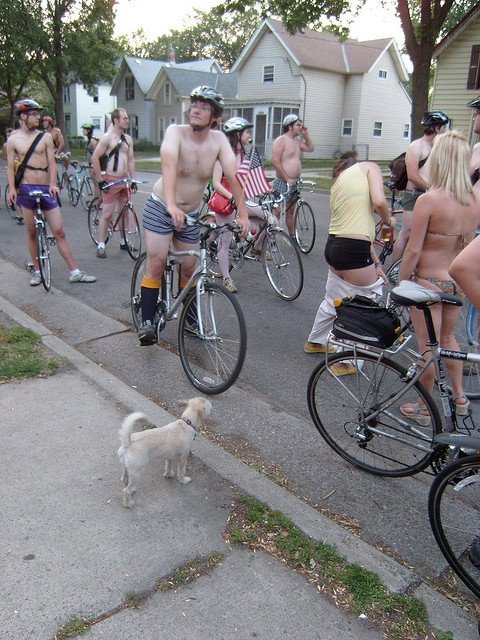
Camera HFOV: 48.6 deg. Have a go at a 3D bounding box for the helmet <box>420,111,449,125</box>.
[{"bbox_3d":[2.108,-2.128,5.761,0.176,0.151,0.248,-27,26,-31],"label":"helmet"}]

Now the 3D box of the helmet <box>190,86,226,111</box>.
[{"bbox_3d":[-0.249,-1.627,3.949,0.229,0.175,0.316,1,19,-4],"label":"helmet"}]

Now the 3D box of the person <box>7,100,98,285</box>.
[{"bbox_3d":[-2.430,-1.475,6.435,0.639,2.150,0.919,12,21,28],"label":"person"}]

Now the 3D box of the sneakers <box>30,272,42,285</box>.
[{"bbox_3d":[-2.565,-0.500,6.607,0.122,0.244,0.372,1,3,-12],"label":"sneakers"}]

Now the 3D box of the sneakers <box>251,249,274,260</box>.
[{"bbox_3d":[0.295,-0.847,7.054,0.330,0.143,0.122,4,27,24],"label":"sneakers"}]

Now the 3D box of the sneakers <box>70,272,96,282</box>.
[{"bbox_3d":[-2.049,-0.571,6.921,0.362,0.163,0.134,-3,24,-21],"label":"sneakers"}]

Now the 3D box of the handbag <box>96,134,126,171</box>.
[{"bbox_3d":[-1.876,-2.445,7.890,0.423,0.535,0.192,-5,19,-21],"label":"handbag"}]

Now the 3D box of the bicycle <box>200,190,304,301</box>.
[{"bbox_3d":[0.086,-1.021,6.837,1.955,1.228,0.949,18,28,41],"label":"bicycle"}]

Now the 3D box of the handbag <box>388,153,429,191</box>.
[{"bbox_3d":[2.060,-1.759,6.690,0.543,0.548,0.409,9,45,14],"label":"handbag"}]

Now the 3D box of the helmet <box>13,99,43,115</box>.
[{"bbox_3d":[-2.350,-2.321,5.860,0.335,0.174,0.245,-9,19,-7],"label":"helmet"}]

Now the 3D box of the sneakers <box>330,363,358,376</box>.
[{"bbox_3d":[0.590,0.282,3.039,0.059,0.054,0.124,-17,9,-36],"label":"sneakers"}]

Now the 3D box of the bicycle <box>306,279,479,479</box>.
[{"bbox_3d":[0.822,0.371,2.966,0.346,1.099,0.952,-12,23,-37],"label":"bicycle"}]

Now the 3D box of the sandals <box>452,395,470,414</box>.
[{"bbox_3d":[1.477,0.562,3.544,0.108,0.091,0.215,-1,5,9],"label":"sandals"}]

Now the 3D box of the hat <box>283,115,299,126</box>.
[{"bbox_3d":[0.749,-2.913,7.846,0.235,0.156,0.310,4,19,5],"label":"hat"}]

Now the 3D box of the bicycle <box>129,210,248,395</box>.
[{"bbox_3d":[-0.428,-0.094,4.249,0.721,1.009,1.585,4,23,-37],"label":"bicycle"}]

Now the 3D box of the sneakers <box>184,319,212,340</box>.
[{"bbox_3d":[-0.316,0.085,4.030,0.070,0.153,0.351,-9,22,-31],"label":"sneakers"}]

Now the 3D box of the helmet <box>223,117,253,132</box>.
[{"bbox_3d":[-0.040,-2.313,6.355,0.336,0.175,0.265,-11,30,-2],"label":"helmet"}]

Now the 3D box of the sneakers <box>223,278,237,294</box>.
[{"bbox_3d":[-0.109,-0.420,6.708,0.107,0.120,0.304,-9,32,-24],"label":"sneakers"}]

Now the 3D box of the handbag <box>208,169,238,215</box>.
[{"bbox_3d":[-0.246,-1.483,6.117,0.235,0.462,0.354,3,33,-22],"label":"handbag"}]

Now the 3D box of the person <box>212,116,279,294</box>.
[{"bbox_3d":[-0.008,-1.320,6.245,0.786,1.915,0.752,0,13,20],"label":"person"}]
